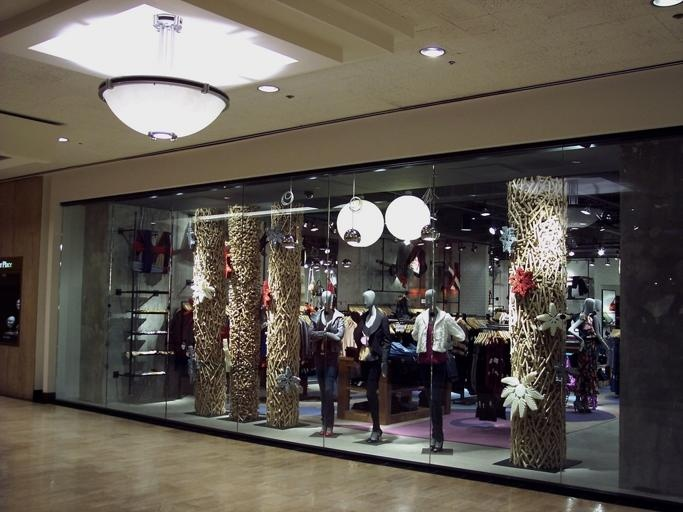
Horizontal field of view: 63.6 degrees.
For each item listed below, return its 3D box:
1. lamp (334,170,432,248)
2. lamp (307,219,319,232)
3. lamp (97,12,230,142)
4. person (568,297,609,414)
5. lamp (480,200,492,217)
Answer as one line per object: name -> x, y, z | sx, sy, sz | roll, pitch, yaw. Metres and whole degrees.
lamp -> 0.490, -0.495, 5.901 | 0.768, 1.018, 0.372 | -2, -11, 18
lamp -> -0.337, -0.352, 6.376 | 0.124, 0.136, 0.137 | 2, -12, -5
lamp -> -1.384, -1.418, 4.320 | 1.002, 0.949, 0.998 | 1, 3, -30
person -> 2.204, 0.877, 4.906 | 0.312, 0.994, 0.142 | -2, -5, 27
lamp -> 1.411, -0.466, 5.389 | 0.130, 0.223, 0.126 | -3, -4, 18
